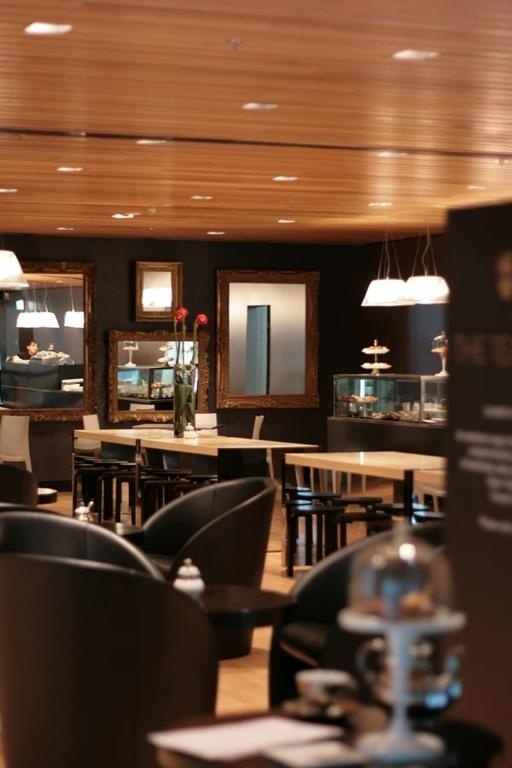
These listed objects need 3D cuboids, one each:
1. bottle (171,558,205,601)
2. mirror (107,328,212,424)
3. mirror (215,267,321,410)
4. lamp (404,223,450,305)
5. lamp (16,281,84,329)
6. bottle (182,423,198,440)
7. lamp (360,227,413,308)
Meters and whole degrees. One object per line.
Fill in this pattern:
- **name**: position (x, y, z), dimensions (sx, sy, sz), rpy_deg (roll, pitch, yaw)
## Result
- **bottle**: position (-0.254, 0.732, 2.502), dimensions (0.097, 0.190, 0.239), rpy_deg (0, 0, -8)
- **mirror**: position (-1.576, -0.141, 10.104), dimensions (1.591, 1.562, 0.161), rpy_deg (-1, 3, -15)
- **mirror**: position (0.199, -0.769, 11.399), dimensions (1.826, 2.365, 0.123), rpy_deg (0, 0, -18)
- **lamp**: position (2.048, -1.411, 8.098), dimensions (0.567, 0.804, 0.560), rpy_deg (5, -5, -18)
- **lamp**: position (-3.156, -1.178, 10.828), dimensions (1.280, 0.855, 0.464), rpy_deg (-2, 6, -10)
- **bottle**: position (-0.677, 0.476, 6.830), dimensions (0.155, 0.170, 0.155), rpy_deg (-4, -9, 36)
- **lamp**: position (1.628, -1.468, 8.154), dimensions (0.594, 0.952, 0.548), rpy_deg (1, 5, 16)
